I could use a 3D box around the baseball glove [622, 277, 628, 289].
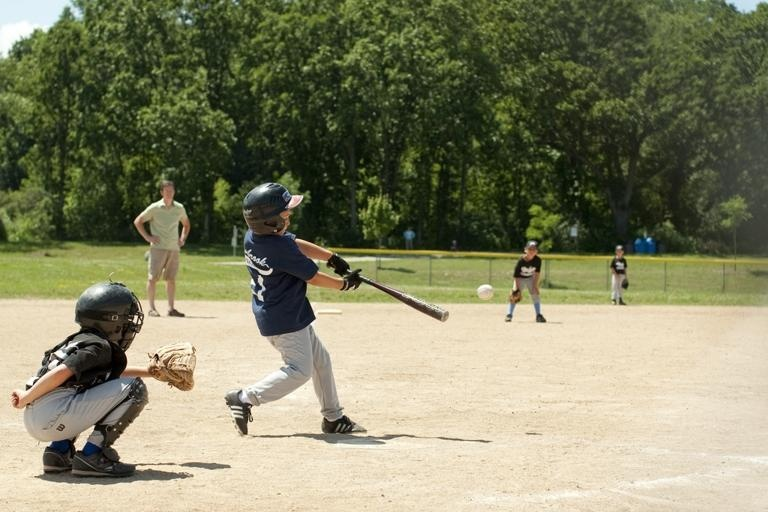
[{"bbox_3d":[9.516,1.091,48.832,0.218,0.419,0.397,-3,13,-3],"label":"baseball glove"}]

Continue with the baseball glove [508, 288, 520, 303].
[{"bbox_3d":[4.709,1.496,44.596,0.359,0.458,0.487,3,-10,-2],"label":"baseball glove"}]
